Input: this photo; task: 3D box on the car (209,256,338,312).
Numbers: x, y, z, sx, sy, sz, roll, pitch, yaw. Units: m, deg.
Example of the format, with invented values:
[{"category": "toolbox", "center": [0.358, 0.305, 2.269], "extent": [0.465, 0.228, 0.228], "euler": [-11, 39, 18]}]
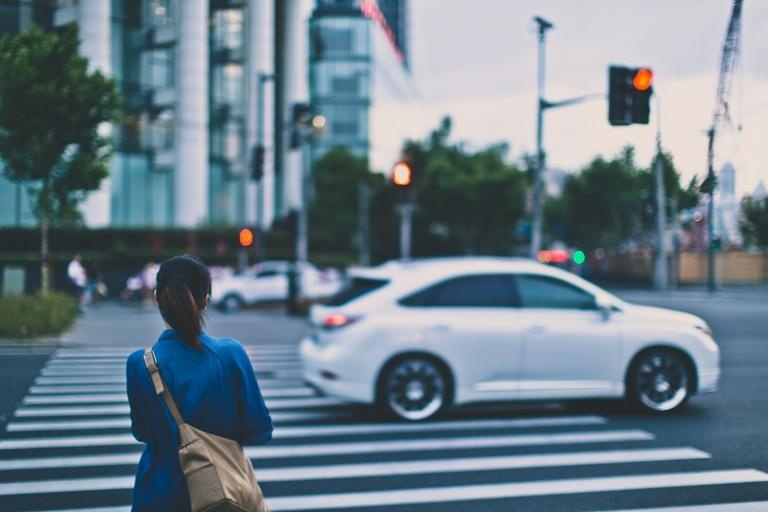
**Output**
[{"category": "car", "center": [-3.514, 0.777, 35.835], "extent": [3.928, 1.590, 1.896], "euler": [1, -6, -9]}]

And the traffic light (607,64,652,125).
[{"category": "traffic light", "center": [4.641, -2.979, 21.216], "extent": [0.837, 1.141, 0.301], "euler": [-5, 4, 13]}]

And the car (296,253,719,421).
[{"category": "car", "center": [1.944, 1.147, 19.291], "extent": [5.974, 2.306, 2.876], "euler": [-2, -1, -7]}]

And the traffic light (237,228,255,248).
[{"category": "traffic light", "center": [-3.665, -0.463, 30.088], "extent": [0.387, 0.474, 0.620], "euler": [-6, 3, -10]}]
